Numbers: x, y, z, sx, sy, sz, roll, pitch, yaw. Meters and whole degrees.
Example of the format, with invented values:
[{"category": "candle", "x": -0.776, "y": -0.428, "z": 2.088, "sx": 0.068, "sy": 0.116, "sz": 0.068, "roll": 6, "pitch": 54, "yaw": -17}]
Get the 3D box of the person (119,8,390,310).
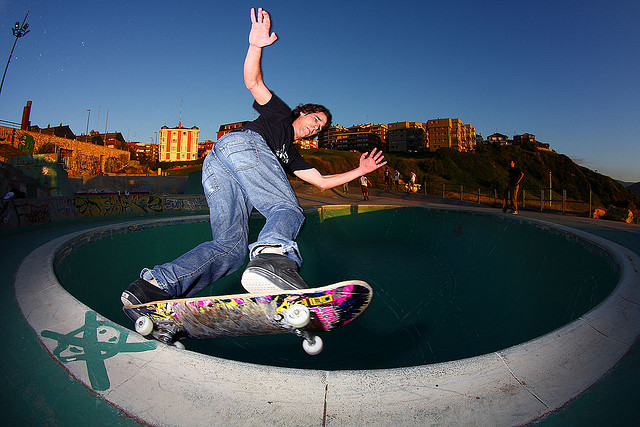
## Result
[{"category": "person", "x": -0.509, "y": -0.422, "z": 2.716, "sx": 0.957, "sy": 1.920, "sz": 1.556, "roll": 2, "pitch": 6, "yaw": 12}]
